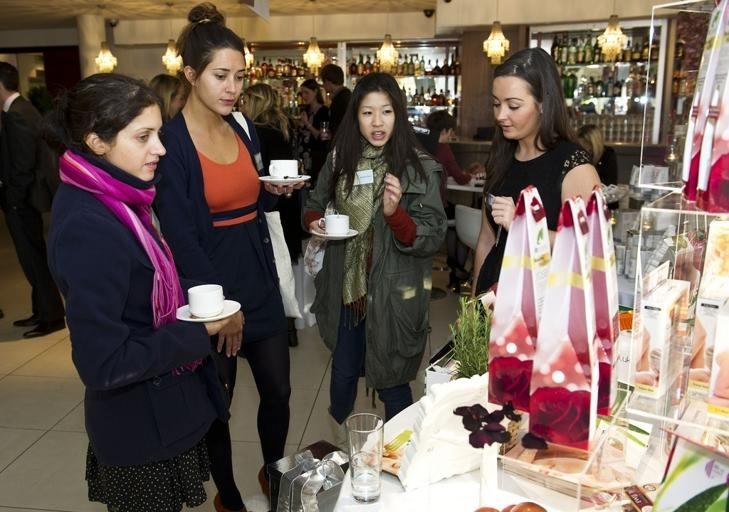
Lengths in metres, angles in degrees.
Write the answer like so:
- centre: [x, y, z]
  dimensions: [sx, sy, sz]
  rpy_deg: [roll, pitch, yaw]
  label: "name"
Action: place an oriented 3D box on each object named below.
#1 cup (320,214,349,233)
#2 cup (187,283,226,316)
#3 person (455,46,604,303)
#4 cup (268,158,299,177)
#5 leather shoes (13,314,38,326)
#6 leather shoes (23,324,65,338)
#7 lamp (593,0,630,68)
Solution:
- centre: [-0.126, -0.143, 2.211]
  dimensions: [0.101, 0.086, 0.152]
  rpy_deg: [-3, 16, -10]
  label: "cup"
- centre: [-0.513, 0.147, 1.626]
  dimensions: [0.098, 0.088, 0.106]
  rpy_deg: [-1, 14, 0]
  label: "cup"
- centre: [0.747, -0.174, 2.318]
  dimensions: [0.409, 1.516, 0.662]
  rpy_deg: [-20, 34, -15]
  label: "person"
- centre: [-0.363, -0.403, 2.206]
  dimensions: [0.085, 0.071, 0.091]
  rpy_deg: [2, 12, 0]
  label: "cup"
- centre: [-3.172, 0.614, 4.602]
  dimensions: [0.187, 0.077, 0.066]
  rpy_deg: [-4, 47, -31]
  label: "leather shoes"
- centre: [-2.847, 0.640, 4.410]
  dimensions: [0.108, 0.150, 0.335]
  rpy_deg: [15, 11, 40]
  label: "leather shoes"
- centre: [3.190, -2.941, 6.346]
  dimensions: [0.389, 0.728, 1.358]
  rpy_deg: [6, 17, 26]
  label: "lamp"
